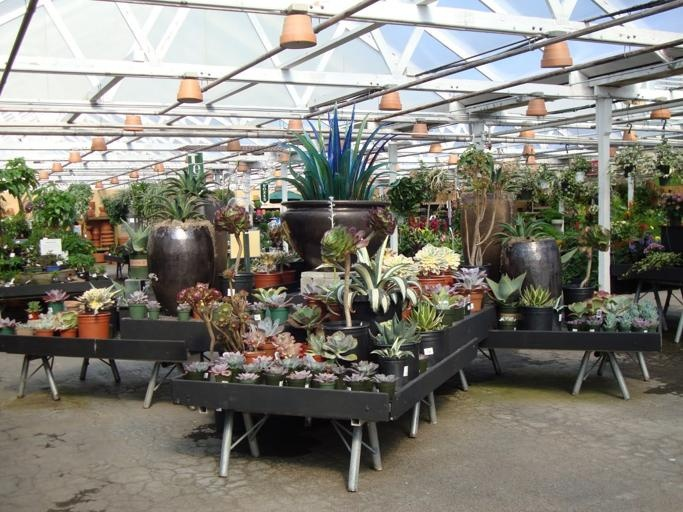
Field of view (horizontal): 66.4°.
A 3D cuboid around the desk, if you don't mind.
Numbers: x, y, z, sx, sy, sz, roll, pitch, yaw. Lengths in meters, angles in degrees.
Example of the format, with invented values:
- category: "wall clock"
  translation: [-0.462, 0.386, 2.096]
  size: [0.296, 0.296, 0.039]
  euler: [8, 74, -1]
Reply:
- category: "desk"
  translation: [-0.042, 0.947, 3.299]
  size: [1.243, 0.555, 1.342]
  euler: [0, 3, 29]
